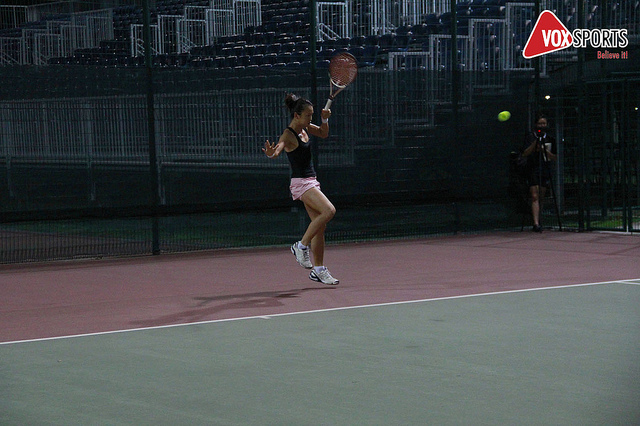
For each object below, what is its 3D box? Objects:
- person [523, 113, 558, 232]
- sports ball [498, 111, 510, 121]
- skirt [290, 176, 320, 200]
[{"bbox_3d":[4.684,-0.837,14.400,0.635,2.447,0.680,-1,5,20],"label":"person"},{"bbox_3d":[3.924,-2.088,14.425,0.288,0.201,0.074,-6,5,-31],"label":"sports ball"},{"bbox_3d":[-0.218,-0.356,9.629,0.303,0.234,0.318,-1,4,-13],"label":"skirt"}]
